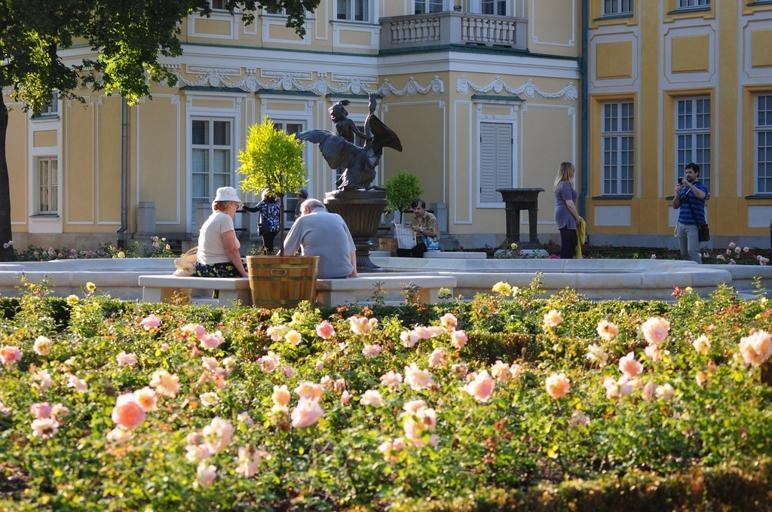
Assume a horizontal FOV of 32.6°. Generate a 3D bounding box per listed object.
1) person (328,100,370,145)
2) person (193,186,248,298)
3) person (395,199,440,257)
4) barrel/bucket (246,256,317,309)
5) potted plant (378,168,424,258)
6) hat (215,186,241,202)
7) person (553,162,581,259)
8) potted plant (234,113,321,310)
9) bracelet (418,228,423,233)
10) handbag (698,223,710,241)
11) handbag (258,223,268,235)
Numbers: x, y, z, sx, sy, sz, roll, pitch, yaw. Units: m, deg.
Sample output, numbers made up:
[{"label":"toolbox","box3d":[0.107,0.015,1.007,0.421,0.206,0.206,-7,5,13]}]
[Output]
[{"label":"person","box3d":[-0.610,-2.129,20.873,0.551,0.674,1.084,-1,6,2]},{"label":"person","box3d":[-2.295,-0.204,18.041,0.723,1.464,0.655,-2,6,-7]},{"label":"person","box3d":[0.550,-0.526,24.288,0.762,1.020,0.623,0,6,7]},{"label":"barrel/bucket","box3d":[-1.389,0.342,17.280,0.751,0.559,0.676,1,-3,4]},{"label":"potted plant","box3d":[0.453,-1.399,29.439,1.021,1.325,0.908,1,0,19]},{"label":"hat","box3d":[-2.211,-0.840,17.930,0.386,0.197,0.360,5,4,10]},{"label":"person","box3d":[2.978,-0.741,21.513,0.392,1.566,0.656,0,6,7]},{"label":"potted plant","box3d":[-1.463,-0.620,18.642,1.208,2.741,1.107,0,-2,-20]},{"label":"bracelet","box3d":[0.635,-0.477,24.213,0.079,0.078,0.020,-5,7,-8]},{"label":"handbag","box3d":[5.337,-0.415,22.043,0.144,0.290,0.222,2,6,24]},{"label":"handbag","box3d":[-2.304,-0.505,24.524,0.198,0.170,0.165,3,-6,-5]}]
